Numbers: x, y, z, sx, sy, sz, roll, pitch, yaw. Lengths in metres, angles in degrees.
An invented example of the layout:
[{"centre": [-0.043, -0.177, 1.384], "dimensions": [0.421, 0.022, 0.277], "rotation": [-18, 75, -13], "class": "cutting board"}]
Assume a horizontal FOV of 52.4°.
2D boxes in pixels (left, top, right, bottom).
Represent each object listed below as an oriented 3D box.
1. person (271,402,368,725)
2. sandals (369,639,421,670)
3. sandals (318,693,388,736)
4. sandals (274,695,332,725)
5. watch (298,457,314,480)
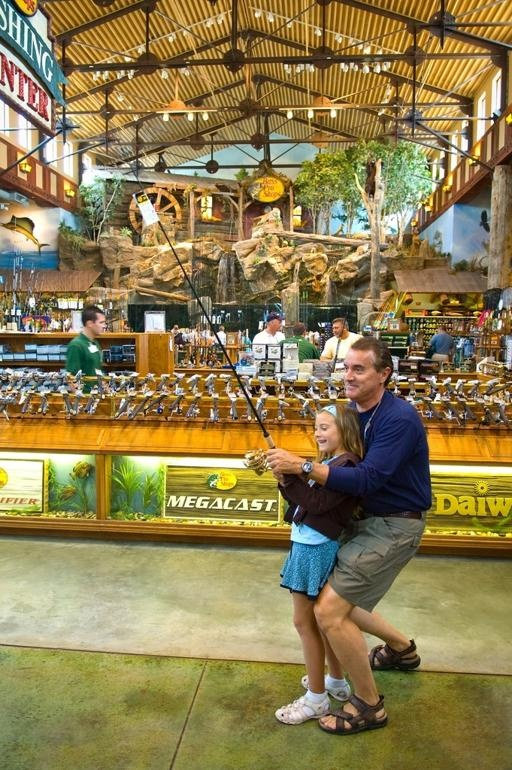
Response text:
[{"centre": [0.195, 0.560, 1.621], "dimensions": [0.254, 1.000, 0.389], "rotation": [1, -1, 3], "class": "person"}, {"centre": [0.524, 1.049, 2.033], "dimensions": [0.224, 0.115, 0.115], "rotation": [1, -1, 14], "class": "sandals"}, {"centre": [0.295, 1.009, 1.609], "dimensions": [0.203, 0.097, 0.094], "rotation": [1, -4, -6], "class": "sandals"}, {"centre": [0.144, 1.018, 1.610], "dimensions": [0.198, 0.083, 0.074], "rotation": [-4, -1, -2], "class": "sandals"}, {"centre": [0.140, 0.234, 1.437], "dimensions": [0.032, 0.058, 0.097], "rotation": [1, -1, 6], "class": "watch"}]
